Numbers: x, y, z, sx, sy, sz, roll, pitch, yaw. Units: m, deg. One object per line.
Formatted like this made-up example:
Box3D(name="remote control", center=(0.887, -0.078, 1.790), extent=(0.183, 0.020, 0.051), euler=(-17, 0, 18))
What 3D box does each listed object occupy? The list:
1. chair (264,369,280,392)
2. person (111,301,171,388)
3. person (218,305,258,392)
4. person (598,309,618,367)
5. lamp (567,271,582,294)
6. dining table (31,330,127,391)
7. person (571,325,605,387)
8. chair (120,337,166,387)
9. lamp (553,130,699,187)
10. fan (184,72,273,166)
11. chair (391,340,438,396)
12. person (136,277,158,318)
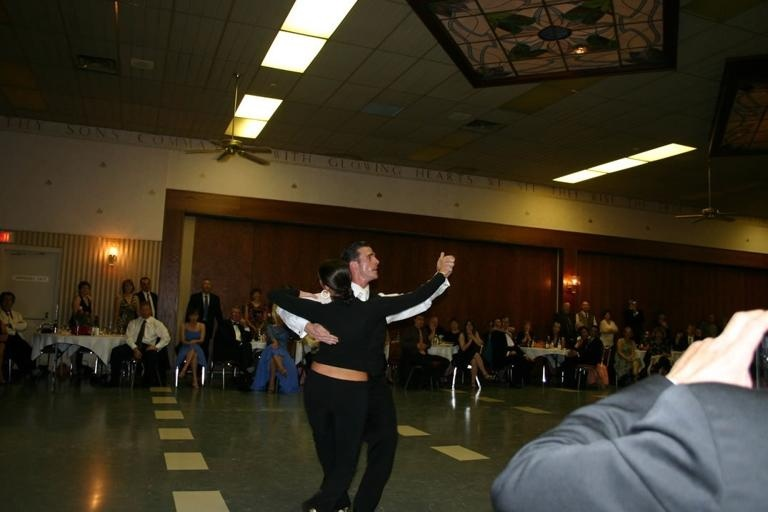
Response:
Box3D(name="chair", center=(-1.795, 2.034, 8.908), extent=(0.155, 0.210, 0.510), euler=(2, -42, -2))
Box3D(name="person", center=(-3.902, 1.403, 8.877), extent=(0.706, 1.231, 0.696), euler=(6, -4, -5))
Box3D(name="person", center=(-2.558, 1.616, 9.376), extent=(0.712, 1.301, 1.215), euler=(-9, 6, -16))
Box3D(name="person", center=(5.430, 2.057, 13.483), extent=(0.474, 1.317, 0.477), euler=(4, -8, -9))
Box3D(name="lamp", center=(4.840, 0.708, 14.179), extent=(0.426, 0.435, 0.776), euler=(6, 12, 11))
Box3D(name="dining table", center=(-4.869, 1.542, 8.756), extent=(1.325, 0.633, 1.363), euler=(4, -7, 4))
Box3D(name="person", center=(4.077, 2.089, 11.094), extent=(0.644, 0.943, 0.661), euler=(-15, 7, 46))
Box3D(name="chair", center=(-3.916, 1.731, 9.214), extent=(0.726, 1.088, 0.752), euler=(1, -4, -18))
Box3D(name="lamp", center=(5.099, -1.959, 11.896), extent=(0.820, 0.539, 3.066), euler=(-10, 6, -24))
Box3D(name="fan", center=(-2.327, -2.217, 8.665), extent=(1.172, 1.174, 1.189), euler=(12, 20, 3))
Box3D(name="chair", center=(0.465, 2.030, 10.142), extent=(0.755, 1.266, 0.873), euler=(10, -18, -38))
Box3D(name="person", center=(-4.382, 0.956, 10.286), extent=(0.369, 1.052, 0.312), euler=(-6, 4, -20))
